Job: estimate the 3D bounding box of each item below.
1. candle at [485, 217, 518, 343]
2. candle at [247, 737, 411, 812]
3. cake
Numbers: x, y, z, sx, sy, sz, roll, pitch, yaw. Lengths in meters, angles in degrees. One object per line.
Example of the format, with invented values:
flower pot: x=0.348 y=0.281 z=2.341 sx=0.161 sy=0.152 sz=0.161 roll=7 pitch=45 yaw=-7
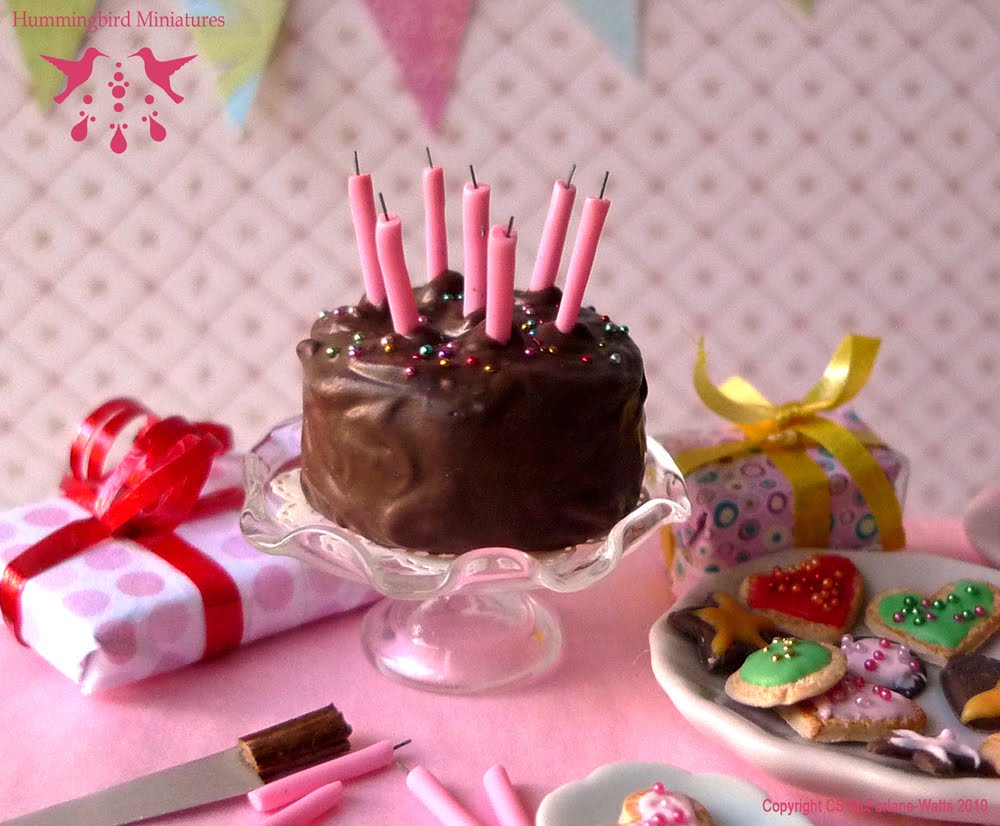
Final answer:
candle: x=0.002 y=-0.134 z=1.065 sx=0.038 sy=0.128 sz=0.075 roll=7 pitch=38 yaw=-1
candle: x=-0.172 y=0.359 z=1.033 sx=0.169 sy=0.024 sz=0.029 roll=-13 pitch=21 yaw=-31
cake: x=-0.033 y=-0.030 z=1.227 sx=0.423 sy=0.223 sz=0.425 roll=15 pitch=23 yaw=33
